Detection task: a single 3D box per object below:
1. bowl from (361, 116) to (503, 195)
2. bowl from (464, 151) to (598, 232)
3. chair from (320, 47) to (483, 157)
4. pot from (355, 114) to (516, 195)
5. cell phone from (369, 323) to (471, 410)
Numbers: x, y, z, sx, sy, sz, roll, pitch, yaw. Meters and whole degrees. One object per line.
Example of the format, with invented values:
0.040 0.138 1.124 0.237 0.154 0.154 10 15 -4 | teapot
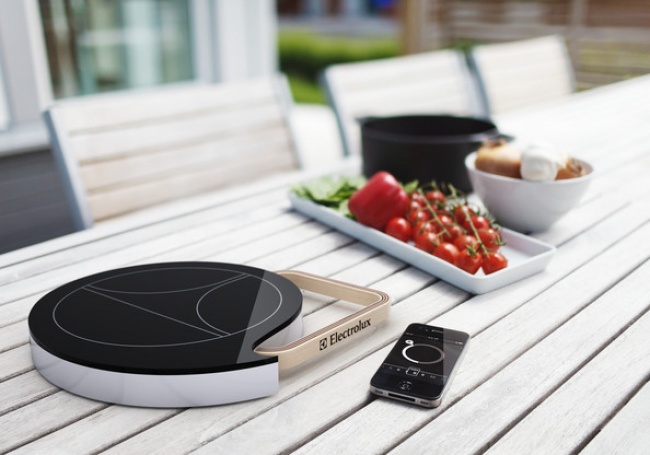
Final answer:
0.270 -0.187 1.232 0.414 0.158 0.363 4 20 4 | bowl
0.486 -0.104 1.104 0.242 0.145 0.347 -14 20 -41 | bowl
0.338 -0.492 1.882 0.491 0.225 0.740 2 7 44 | chair
0.285 -0.249 1.329 0.565 0.187 0.355 13 21 27 | pot
0.132 0.180 0.639 0.097 0.022 0.155 6 23 26 | cell phone
